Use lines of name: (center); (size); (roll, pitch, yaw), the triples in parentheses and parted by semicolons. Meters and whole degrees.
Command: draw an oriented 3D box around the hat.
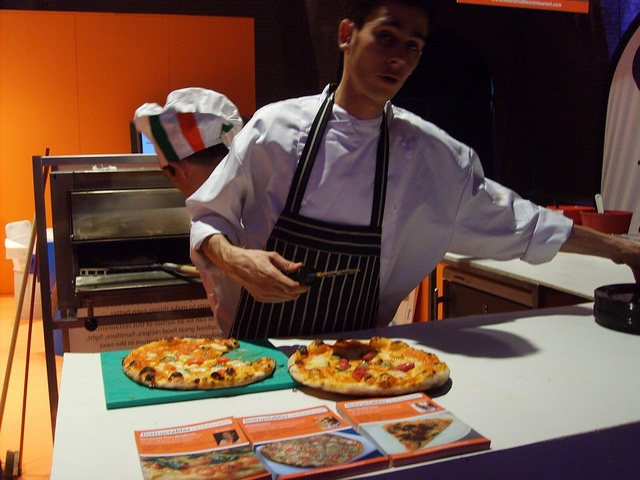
hat: (-0.537, -0.488, 2.128); (0.355, 0.196, 0.368); (-24, 5, 18)

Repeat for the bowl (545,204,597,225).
bowl: (1.196, -0.129, 2.441); (0.155, 0.073, 0.163); (0, 4, 0)

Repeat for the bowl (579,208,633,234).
bowl: (1.438, -0.077, 2.621); (0.158, 0.142, 0.187); (0, -1, 0)
